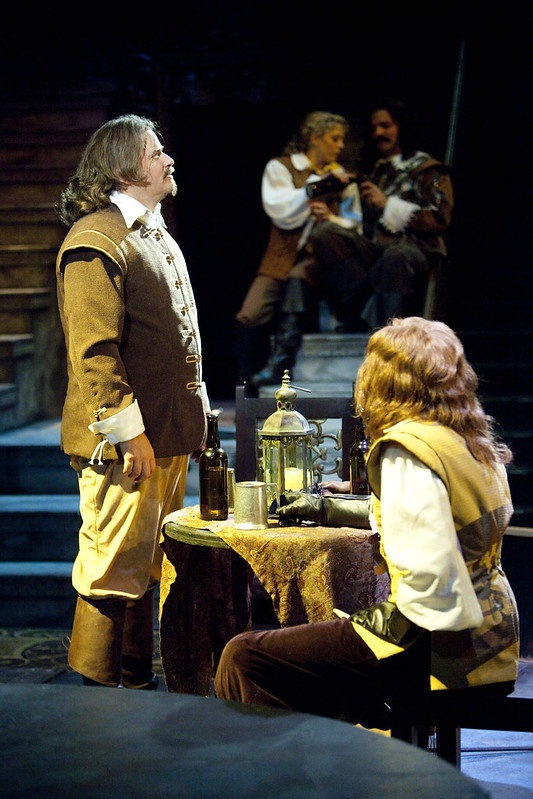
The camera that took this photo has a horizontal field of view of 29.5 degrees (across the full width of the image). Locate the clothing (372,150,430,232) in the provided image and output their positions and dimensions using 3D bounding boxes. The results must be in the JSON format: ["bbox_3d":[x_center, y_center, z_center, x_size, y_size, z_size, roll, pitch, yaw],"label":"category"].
[{"bbox_3d":[0.578,-0.869,4.272,0.284,0.283,0.142,5,9,1],"label":"clothing"}]

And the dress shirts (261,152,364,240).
[{"bbox_3d":[0.146,-0.959,4.573,0.453,0.370,0.150,12,34,7],"label":"dress shirts"}]

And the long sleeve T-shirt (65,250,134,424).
[{"bbox_3d":[-0.417,-0.159,2.498,0.159,0.409,0.257,-1,11,-11],"label":"long sleeve T-shirt"}]

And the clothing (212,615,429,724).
[{"bbox_3d":[0.078,0.499,1.900,0.425,0.123,0.205,6,-35,10],"label":"clothing"}]

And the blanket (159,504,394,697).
[{"bbox_3d":[0.013,0.478,2.392,0.571,0.325,0.501,0,-1,7],"label":"blanket"}]

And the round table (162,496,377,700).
[{"bbox_3d":[-0.055,0.500,2.355,0.560,0.331,0.490,-3,-16,12],"label":"round table"}]

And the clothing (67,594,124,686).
[{"bbox_3d":[-0.425,0.606,2.556,0.139,0.206,0.114,-1,11,-8],"label":"clothing"}]

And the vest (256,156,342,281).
[{"bbox_3d":[0.146,-0.871,4.593,0.128,0.348,0.420,18,3,-13],"label":"vest"}]

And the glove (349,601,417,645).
[{"bbox_3d":[0.223,0.401,1.830,0.077,0.023,0.089,-16,26,-40],"label":"glove"}]

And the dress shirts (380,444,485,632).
[{"bbox_3d":[0.259,0.235,1.852,0.217,0.359,0.278,-3,-9,3],"label":"dress shirts"}]

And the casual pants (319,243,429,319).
[{"bbox_3d":[0.470,-0.554,4.456,0.477,0.377,0.189,8,21,10],"label":"casual pants"}]
